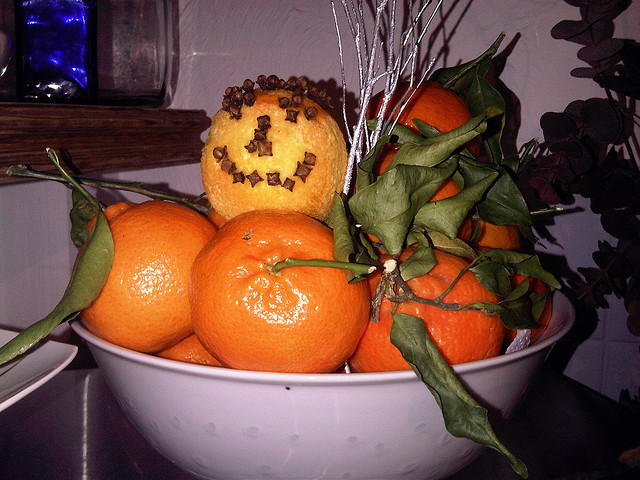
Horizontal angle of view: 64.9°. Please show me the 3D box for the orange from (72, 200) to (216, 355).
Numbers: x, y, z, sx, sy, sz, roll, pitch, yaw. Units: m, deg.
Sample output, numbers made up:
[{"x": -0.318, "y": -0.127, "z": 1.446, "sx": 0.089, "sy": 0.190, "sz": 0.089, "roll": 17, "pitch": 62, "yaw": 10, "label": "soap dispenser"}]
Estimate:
[{"x": -0.193, "y": 0.043, "z": 0.601, "sx": 0.142, "sy": 0.176, "sz": 0.146, "roll": 2, "pitch": -2, "yaw": -40, "label": "orange"}]

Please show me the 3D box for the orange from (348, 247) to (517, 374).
[{"x": 0.129, "y": 0.084, "z": 0.586, "sx": 0.134, "sy": 0.141, "sz": 0.137, "roll": -22, "pitch": -6, "yaw": 12, "label": "orange"}]

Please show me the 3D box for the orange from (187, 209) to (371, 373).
[{"x": -0.039, "y": 0.078, "z": 0.575, "sx": 0.160, "sy": 0.158, "sz": 0.123, "roll": 33, "pitch": -18, "yaw": 12, "label": "orange"}]

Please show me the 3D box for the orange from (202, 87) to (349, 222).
[{"x": -0.054, "y": -0.092, "z": 0.637, "sx": 0.187, "sy": 0.195, "sz": 0.189, "roll": 2, "pitch": 23, "yaw": 3, "label": "orange"}]
